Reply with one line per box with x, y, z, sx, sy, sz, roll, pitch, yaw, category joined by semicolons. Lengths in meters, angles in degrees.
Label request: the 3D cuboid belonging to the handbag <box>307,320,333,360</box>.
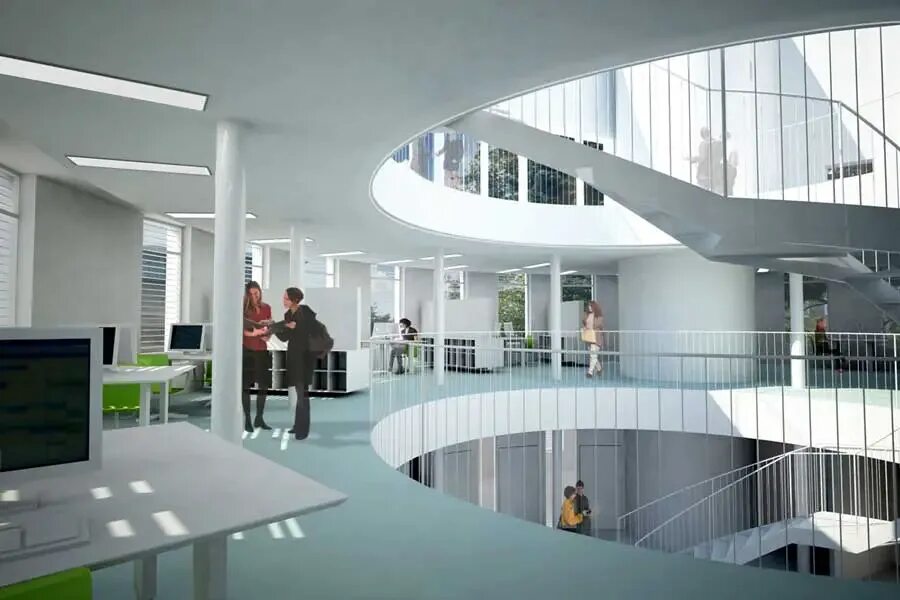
-1.881;0.546;9.483;0.335;0.620;0.422;4;4;3;handbag

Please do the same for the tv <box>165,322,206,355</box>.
-4.841;0.724;11.798;0.530;0.562;0.194;1;-22;-9;tv

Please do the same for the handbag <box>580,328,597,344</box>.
3.328;0.839;15.171;0.389;0.477;0.329;0;1;18;handbag

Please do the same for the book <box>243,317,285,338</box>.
-2.758;0.405;9.311;0.506;0.244;0.286;9;-35;-22;book

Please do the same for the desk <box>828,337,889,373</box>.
9.145;1.213;14.178;0.570;0.766;1.092;2;-5;-40;desk

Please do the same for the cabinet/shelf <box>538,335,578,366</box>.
2.971;1.366;17.187;1.212;0.946;1.226;1;-5;-5;cabinet/shelf

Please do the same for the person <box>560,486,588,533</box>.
2.546;4.555;13.184;0.593;1.423;0.618;0;2;12;person

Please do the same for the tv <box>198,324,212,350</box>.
-4.582;0.677;11.956;0.171;0.518;0.501;-2;2;2;tv

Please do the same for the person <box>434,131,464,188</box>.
0.004;-3.355;15.144;0.496;1.477;0.490;5;28;-3;person
